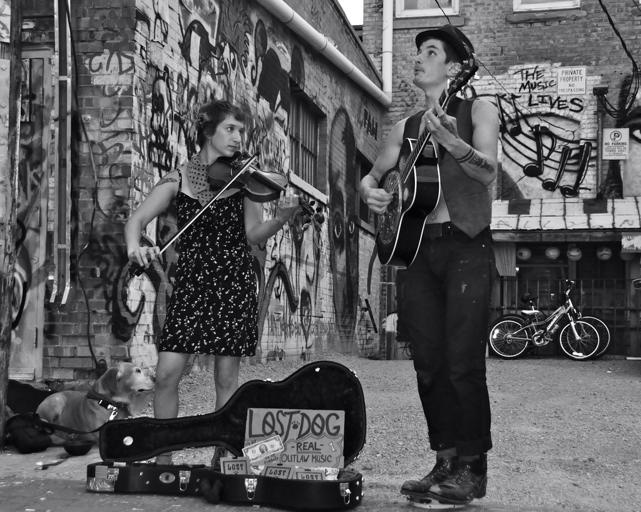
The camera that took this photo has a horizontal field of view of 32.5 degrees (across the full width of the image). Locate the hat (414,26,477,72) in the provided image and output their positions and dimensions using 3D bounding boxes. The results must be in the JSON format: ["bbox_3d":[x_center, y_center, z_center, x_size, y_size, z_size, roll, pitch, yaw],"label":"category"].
[{"bbox_3d":[0.844,-1.541,7.767,0.431,0.171,0.406,7,23,10],"label":"hat"}]

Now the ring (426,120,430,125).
[{"bbox_3d":[0.717,-0.893,7.374,0.012,0.021,0.032,-1,7,-26],"label":"ring"}]

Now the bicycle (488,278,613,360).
[{"bbox_3d":[3.838,1.125,18.565,2.030,1.472,1.101,-1,-8,13],"label":"bicycle"}]

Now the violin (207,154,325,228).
[{"bbox_3d":[-0.427,-0.454,7.993,0.881,0.411,0.182,34,-33,-13],"label":"violin"}]

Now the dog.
[{"bbox_3d":[-1.909,1.257,9.298,1.015,0.710,0.611,1,1,11],"label":"dog"}]

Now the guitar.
[{"bbox_3d":[0.746,-0.664,7.916,0.704,1.585,0.674,7,4,-4],"label":"guitar"}]

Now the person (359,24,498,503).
[{"bbox_3d":[0.797,0.066,7.626,0.863,3.342,0.852,2,6,5],"label":"person"}]
